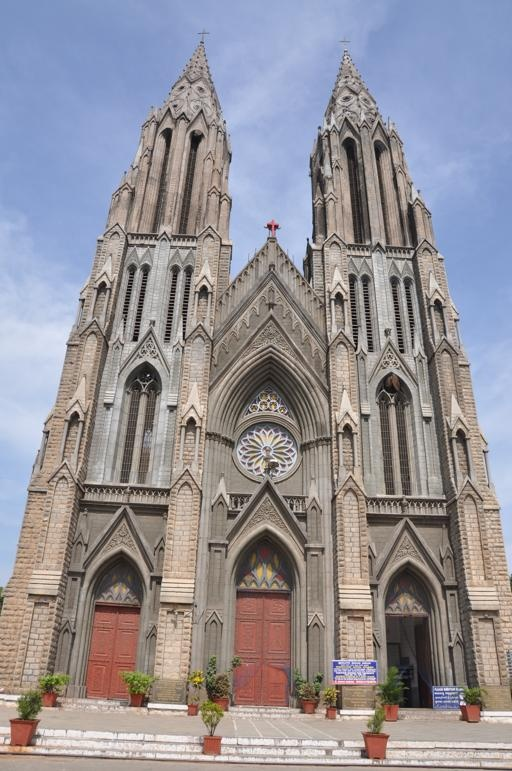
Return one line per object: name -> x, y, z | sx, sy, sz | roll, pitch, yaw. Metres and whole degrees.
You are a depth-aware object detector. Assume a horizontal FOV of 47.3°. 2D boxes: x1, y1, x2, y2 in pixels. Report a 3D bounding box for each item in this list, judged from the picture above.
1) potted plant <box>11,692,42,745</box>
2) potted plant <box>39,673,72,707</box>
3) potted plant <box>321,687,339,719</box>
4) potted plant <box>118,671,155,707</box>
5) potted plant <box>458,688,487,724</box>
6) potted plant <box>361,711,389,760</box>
potted plant -> -3.689, 5.301, 9.321 | 0.411, 0.770, 0.671 | 10, -27, -18
potted plant -> -5.664, 8.552, 16.353 | 0.641, 0.775, 1.018 | -7, -28, 17
potted plant -> 2.274, 9.595, 17.659 | 0.387, 0.838, 0.856 | -2, -26, 9
potted plant -> -3.550, 9.120, 17.504 | 0.915, 0.879, 1.146 | 5, -27, -7
potted plant -> 6.281, 9.302, 16.977 | 0.636, 0.863, 1.032 | -7, -27, 17
potted plant -> 1.998, 5.819, 9.771 | 0.378, 0.739, 0.928 | -3, -27, 9
